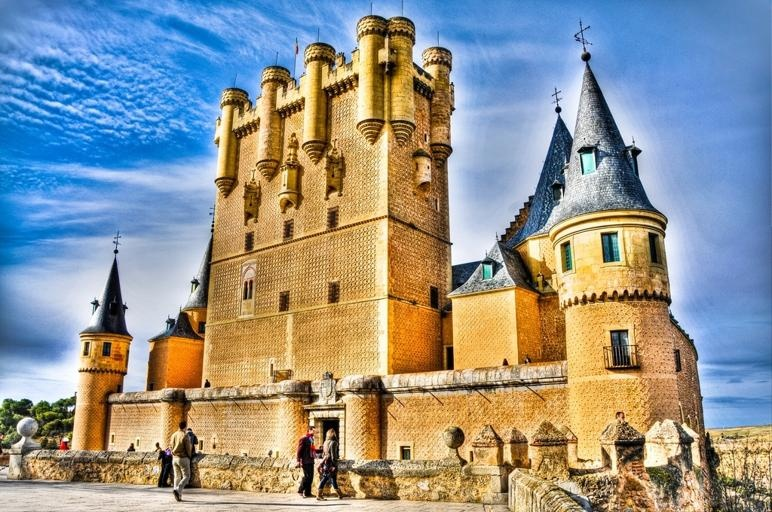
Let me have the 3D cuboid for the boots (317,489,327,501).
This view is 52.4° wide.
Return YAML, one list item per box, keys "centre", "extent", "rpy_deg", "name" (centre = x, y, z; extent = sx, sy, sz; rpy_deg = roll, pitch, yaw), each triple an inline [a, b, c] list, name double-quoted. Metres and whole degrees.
- centre: [-2.056, 7.542, 24.763]
  extent: [0.355, 0.326, 0.162]
  rpy_deg: [5, -6, -30]
  name: "boots"

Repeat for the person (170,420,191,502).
- centre: [-6.416, 6.559, 24.630]
  extent: [0.583, 2.106, 0.715]
  rpy_deg: [2, -16, -13]
  name: "person"

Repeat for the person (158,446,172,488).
- centre: [-7.590, 7.338, 27.178]
  extent: [0.481, 1.298, 0.837]
  rpy_deg: [3, -17, -16]
  name: "person"

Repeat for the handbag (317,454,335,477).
- centre: [-1.890, 6.731, 25.197]
  extent: [0.477, 0.588, 0.571]
  rpy_deg: [3, 16, 0]
  name: "handbag"

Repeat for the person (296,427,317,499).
- centre: [-2.596, 6.722, 25.689]
  extent: [0.620, 2.234, 1.139]
  rpy_deg: [0, -16, -6]
  name: "person"

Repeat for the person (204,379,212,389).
- centre: [-10.196, 7.336, 45.096]
  extent: [0.406, 0.732, 0.399]
  rpy_deg: [1, -7, -18]
  name: "person"
